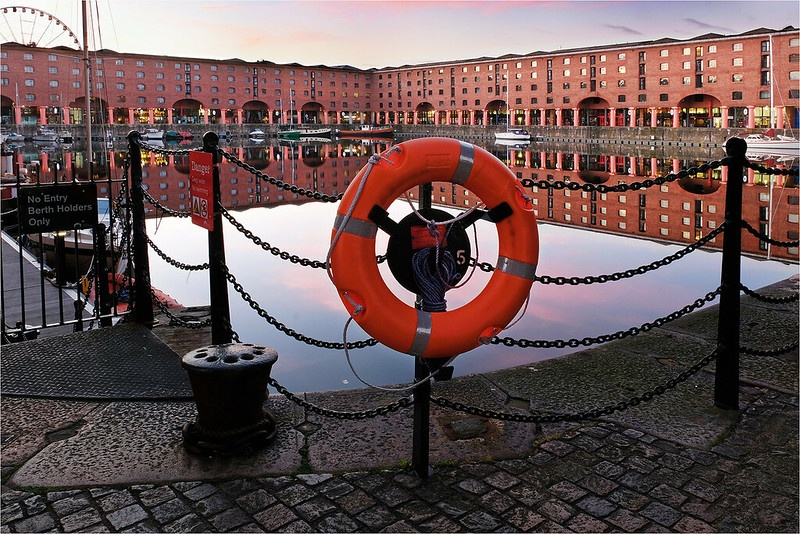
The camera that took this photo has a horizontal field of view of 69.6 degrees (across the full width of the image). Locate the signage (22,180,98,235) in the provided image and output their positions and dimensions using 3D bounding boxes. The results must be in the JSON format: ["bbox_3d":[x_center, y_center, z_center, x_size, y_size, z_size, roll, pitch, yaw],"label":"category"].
[{"bbox_3d":[-3.343,-0.550,5.557,0.823,0.491,0.070,-1,15,3],"label":"signage"}]
